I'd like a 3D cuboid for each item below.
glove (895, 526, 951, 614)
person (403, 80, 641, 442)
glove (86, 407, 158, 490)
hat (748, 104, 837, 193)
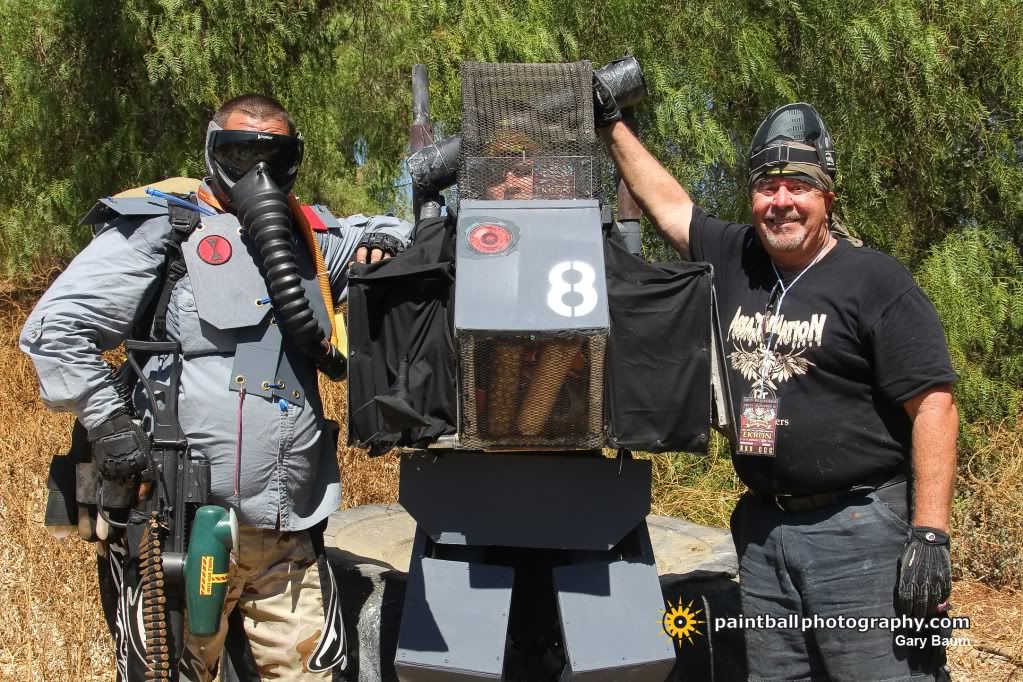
[{"bbox_3d":[2.038,1.135,5.687,0.268,0.409,0.170,0,2,7],"label":"glove"},{"bbox_3d":[0.067,-0.344,5.718,0.771,0.736,1.928,2,49,-1],"label":"person"},{"bbox_3d":[-1.943,0.555,5.810,0.258,0.378,0.159,-22,3,-1],"label":"glove"},{"bbox_3d":[1.439,-0.990,5.973,0.355,0.438,0.496,2,23,10],"label":"hat"}]
